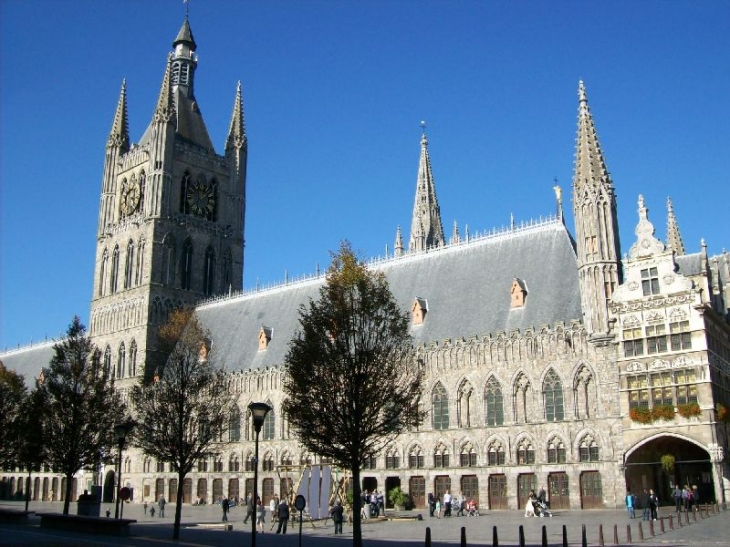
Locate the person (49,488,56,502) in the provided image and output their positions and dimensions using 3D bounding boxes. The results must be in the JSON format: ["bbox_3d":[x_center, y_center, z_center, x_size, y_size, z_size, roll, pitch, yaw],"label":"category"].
[{"bbox_3d":[-29.650,21.155,88.841,0.433,1.111,1.924,10,-23,-30],"label":"person"}]
